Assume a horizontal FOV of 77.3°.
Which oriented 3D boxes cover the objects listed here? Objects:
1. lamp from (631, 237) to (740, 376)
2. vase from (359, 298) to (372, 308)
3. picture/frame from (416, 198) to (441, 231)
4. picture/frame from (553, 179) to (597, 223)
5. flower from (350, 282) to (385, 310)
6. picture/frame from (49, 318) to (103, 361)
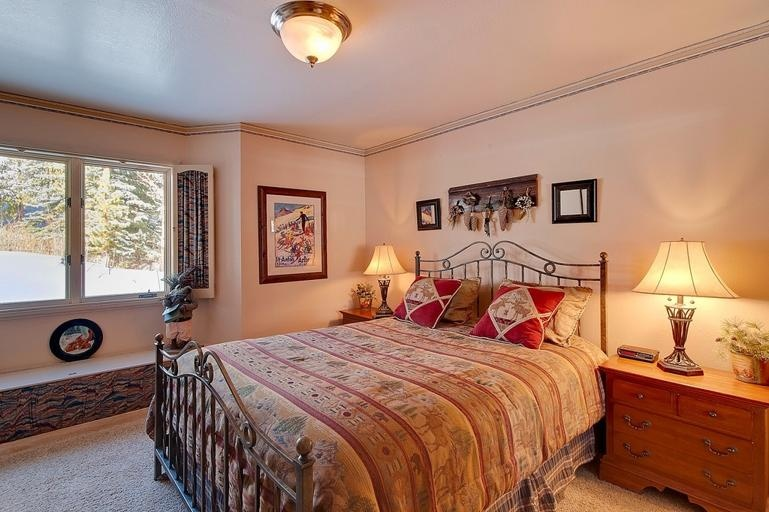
[{"bbox_3d":[2.426,0.420,3.939,0.699,1.073,0.849,-3,5,-3],"label":"lamp"},{"bbox_3d":[-0.231,0.586,6.000,0.132,0.101,0.130,2,-5,-30],"label":"vase"},{"bbox_3d":[0.503,-0.468,5.505,0.024,0.325,0.321,-7,3,-44],"label":"picture/frame"},{"bbox_3d":[1.767,-0.508,4.428,0.411,0.417,0.042,2,0,44],"label":"picture/frame"},{"bbox_3d":[-0.194,0.513,6.099,0.327,0.320,0.330,-4,-8,43],"label":"flower"},{"bbox_3d":[-3.052,0.846,4.808,0.455,0.531,0.019,-1,27,-39],"label":"picture/frame"}]
